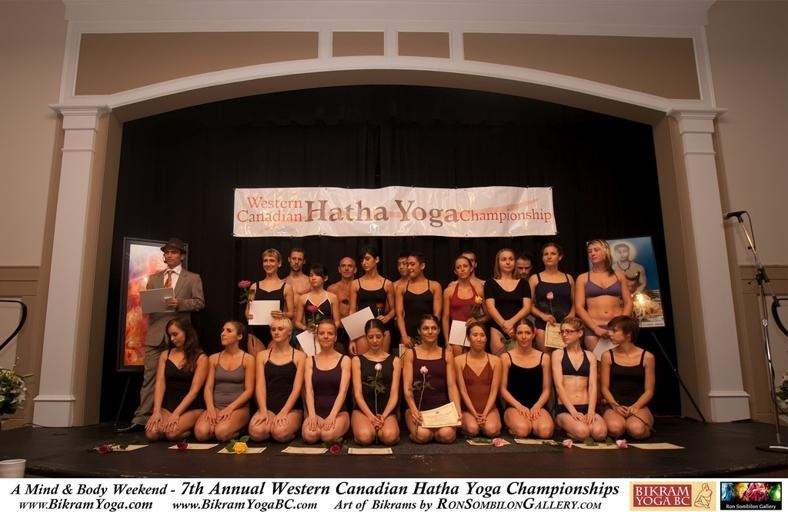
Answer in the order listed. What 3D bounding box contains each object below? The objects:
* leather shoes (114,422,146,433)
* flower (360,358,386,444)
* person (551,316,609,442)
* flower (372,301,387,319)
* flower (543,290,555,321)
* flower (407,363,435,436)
[{"bbox_3d":[-3.114,2.005,7.166,0.220,0.078,0.174,-4,-6,29],"label":"leather shoes"},{"bbox_3d":[-0.206,1.521,6.563,0.365,0.899,0.291,-1,-7,-1],"label":"flower"},{"bbox_3d":[1.987,1.319,6.629,0.528,1.292,0.372,-3,-7,14],"label":"person"},{"bbox_3d":[-0.163,0.661,7.512,0.164,0.218,0.163,0,1,-36],"label":"flower"},{"bbox_3d":[1.897,0.561,7.441,0.103,0.293,0.109,-3,-7,14],"label":"flower"},{"bbox_3d":[0.268,1.507,6.542,0.190,0.658,0.349,-2,-6,2],"label":"flower"}]
